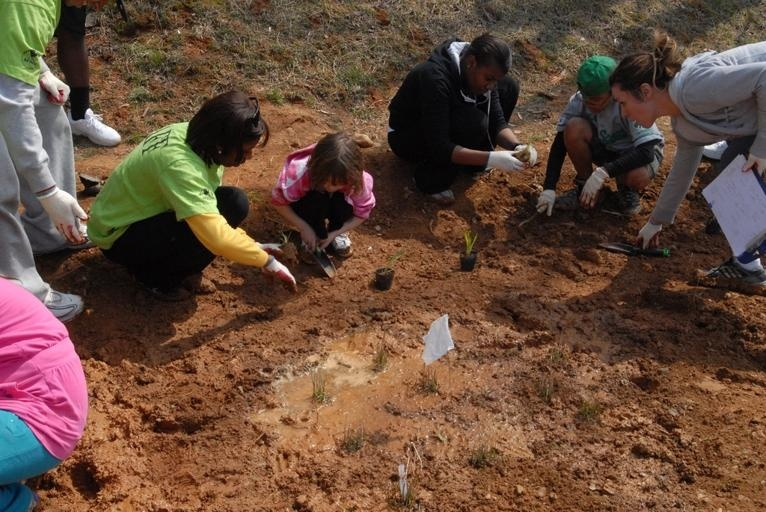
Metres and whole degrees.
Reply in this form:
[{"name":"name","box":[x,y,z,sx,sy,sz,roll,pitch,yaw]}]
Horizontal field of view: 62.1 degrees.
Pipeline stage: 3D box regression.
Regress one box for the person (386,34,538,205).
[{"name":"person","box":[0.686,-1.307,6.063,1.244,1.552,1.054,-2,40,0]}]

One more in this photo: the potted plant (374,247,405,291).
[{"name":"potted plant","box":[0.044,0.068,5.591,0.216,0.293,0.484,9,41,12]}]

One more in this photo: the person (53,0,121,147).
[{"name":"person","box":[-2.815,-1.663,5.990,0.645,1.887,0.441,7,74,-20]}]

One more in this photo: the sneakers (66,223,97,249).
[{"name":"sneakers","box":[-2.346,-0.158,4.899,0.162,0.151,0.079,-27,64,-36]}]

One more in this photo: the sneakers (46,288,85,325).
[{"name":"sneakers","box":[-2.380,0.369,4.735,0.293,0.130,0.158,39,30,-5]}]

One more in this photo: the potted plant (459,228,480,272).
[{"name":"potted plant","box":[0.785,-0.051,5.739,0.215,0.330,0.205,-1,10,-30]}]

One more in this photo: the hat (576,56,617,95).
[{"name":"hat","box":[1.872,-1.624,5.533,0.288,0.173,0.393,0,63,37]}]

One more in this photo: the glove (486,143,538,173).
[{"name":"glove","box":[1.217,-0.892,5.902,0.425,0.178,0.264,-22,28,9]}]

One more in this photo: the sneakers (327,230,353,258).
[{"name":"sneakers","box":[-0.318,-0.109,5.783,0.353,0.232,0.120,12,31,35]}]

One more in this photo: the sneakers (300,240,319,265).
[{"name":"sneakers","box":[-0.661,-0.030,5.596,0.275,0.171,0.073,9,16,32]}]

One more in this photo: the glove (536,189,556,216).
[{"name":"glove","box":[1.580,-0.510,6.101,0.151,0.073,0.264,1,55,17]}]

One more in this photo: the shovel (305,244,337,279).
[{"name":"shovel","box":[-0.549,0.035,5.607,0.115,0.059,0.418,-35,50,-7]}]

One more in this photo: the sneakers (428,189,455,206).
[{"name":"sneakers","box":[0.580,-0.596,6.404,0.277,0.095,0.196,6,16,14]}]
